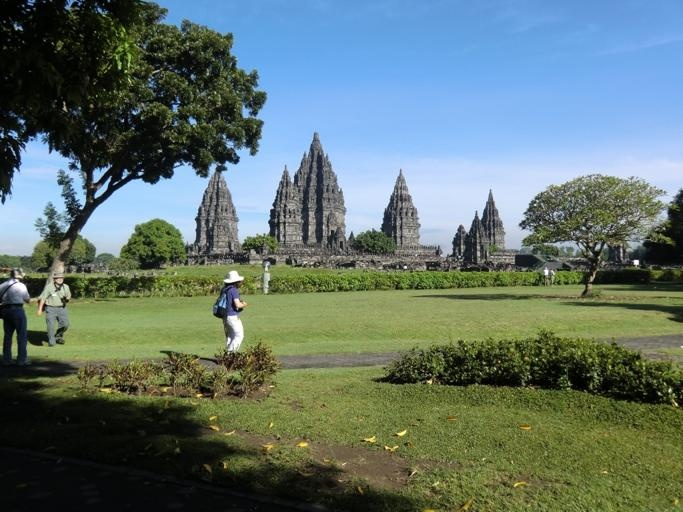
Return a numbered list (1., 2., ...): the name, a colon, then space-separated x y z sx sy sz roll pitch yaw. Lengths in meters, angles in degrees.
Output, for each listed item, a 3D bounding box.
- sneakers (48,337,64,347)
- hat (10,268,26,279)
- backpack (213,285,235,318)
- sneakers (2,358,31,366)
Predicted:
1. sneakers: -8.038 2.418 18.804 0.565 0.193 0.162 -5 -10 28
2. hat: -7.781 0.450 16.218 0.267 0.274 0.307 3 -3 -10
3. backpack: -2.679 1.041 15.144 0.406 0.724 0.443 3 0 -10
4. sneakers: -7.650 2.502 15.811 0.676 0.221 0.200 1 -1 -7
